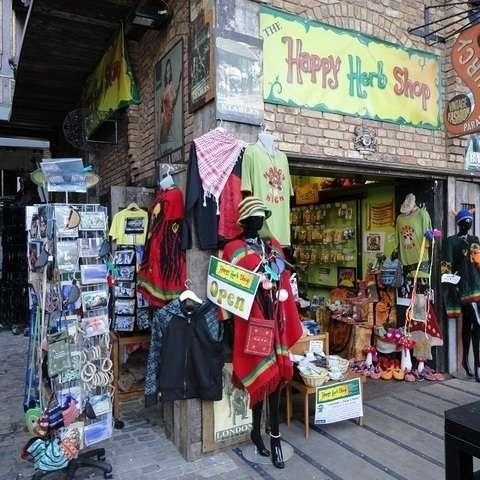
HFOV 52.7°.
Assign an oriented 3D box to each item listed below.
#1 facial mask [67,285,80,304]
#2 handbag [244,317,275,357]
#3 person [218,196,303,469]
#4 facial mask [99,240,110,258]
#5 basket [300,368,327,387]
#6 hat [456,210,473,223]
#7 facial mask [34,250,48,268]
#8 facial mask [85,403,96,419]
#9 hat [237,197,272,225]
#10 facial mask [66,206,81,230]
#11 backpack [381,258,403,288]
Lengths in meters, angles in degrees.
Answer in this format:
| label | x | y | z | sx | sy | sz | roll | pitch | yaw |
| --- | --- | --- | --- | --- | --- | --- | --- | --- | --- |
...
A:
| label | x | y | z | sx | sy | sz | roll | pitch | yaw |
| --- | --- | --- | --- | --- | --- | --- | --- | --- | --- |
| facial mask | -1.226 | 0.398 | 3.604 | 0.092 | 0.134 | 0.039 | -4 | 6 | -36 |
| handbag | 0.170 | 0.691 | 3.732 | 0.178 | 0.313 | 0.268 | 7 | 3 | 6 |
| person | 0.178 | 0.706 | 3.872 | 0.623 | 2.103 | 0.551 | -1 | 4 | -9 |
| facial mask | -1.061 | 0.073 | 3.852 | 0.069 | 0.132 | 0.031 | 19 | -29 | -11 |
| basket | 0.639 | 1.193 | 4.186 | 0.232 | 0.104 | 0.123 | 0 | 5 | -1 |
| hat | 2.661 | -0.276 | 5.766 | 0.134 | 0.193 | 0.181 | -1 | -4 | -3 |
| facial mask | -1.466 | 0.144 | 3.609 | 0.069 | 0.150 | 0.030 | 22 | -6 | 7 |
| facial mask | -1.117 | 1.281 | 3.640 | 0.060 | 0.129 | 0.025 | -4 | -5 | -39 |
| hat | 0.101 | -0.227 | 3.735 | 0.238 | 0.206 | 0.151 | 0 | 5 | -1 |
| facial mask | -1.260 | -0.159 | 3.687 | 0.040 | 0.150 | 0.094 | 4 | 5 | 22 |
| backpack | 1.876 | 0.380 | 5.948 | 0.272 | 0.461 | 0.263 | 3 | 4 | 39 |
